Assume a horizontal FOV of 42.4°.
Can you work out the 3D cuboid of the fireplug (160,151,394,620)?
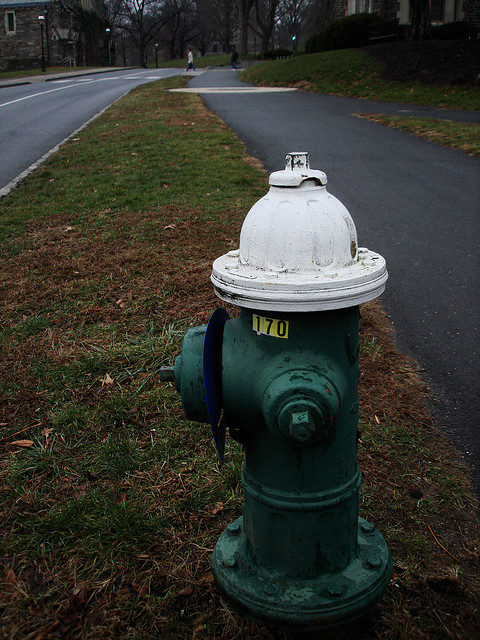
[{"bbox_3d":[0.147,0.245,2.053,0.728,1.539,0.516,2,18,14],"label":"fireplug"}]
